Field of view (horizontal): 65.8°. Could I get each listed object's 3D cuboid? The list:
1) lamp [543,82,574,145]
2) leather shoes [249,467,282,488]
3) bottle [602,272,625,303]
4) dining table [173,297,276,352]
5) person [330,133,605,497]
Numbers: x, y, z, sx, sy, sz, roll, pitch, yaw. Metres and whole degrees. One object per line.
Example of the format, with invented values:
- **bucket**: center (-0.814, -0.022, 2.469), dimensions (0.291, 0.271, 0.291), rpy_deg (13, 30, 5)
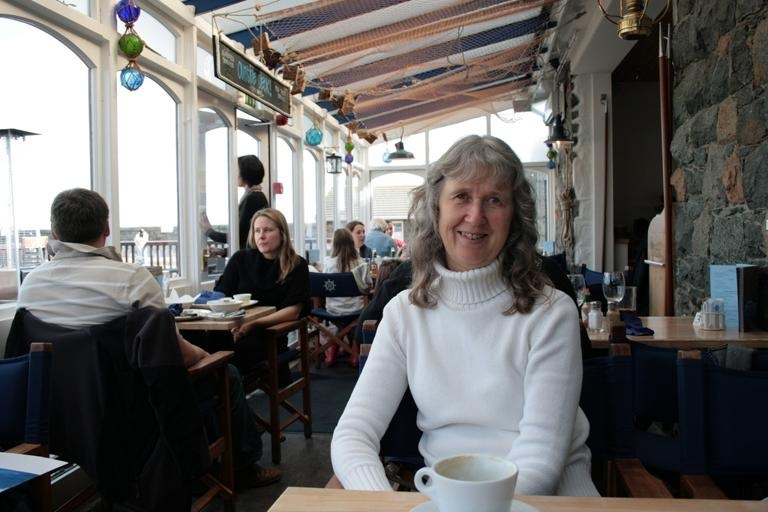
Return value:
- **lamp**: center (2.237, -1.788, 7.631), dimensions (0.374, 0.595, 0.377), rpy_deg (-6, 10, -19)
- **leather shoes**: center (-0.770, 1.430, 3.859), dimensions (0.210, 0.093, 0.081), rpy_deg (-4, 1, -10)
- **bottle**: center (1.448, 0.197, 3.739), dimensions (0.127, 0.185, 0.087), rpy_deg (-1, 1, 31)
- **dining table**: center (-1.152, 0.484, 4.047), dimensions (0.452, 0.346, 0.461), rpy_deg (0, 4, 11)
- **person**: center (0.273, 0.181, 2.241), dimensions (0.910, 1.296, 0.455), rpy_deg (-1, 1, -2)
